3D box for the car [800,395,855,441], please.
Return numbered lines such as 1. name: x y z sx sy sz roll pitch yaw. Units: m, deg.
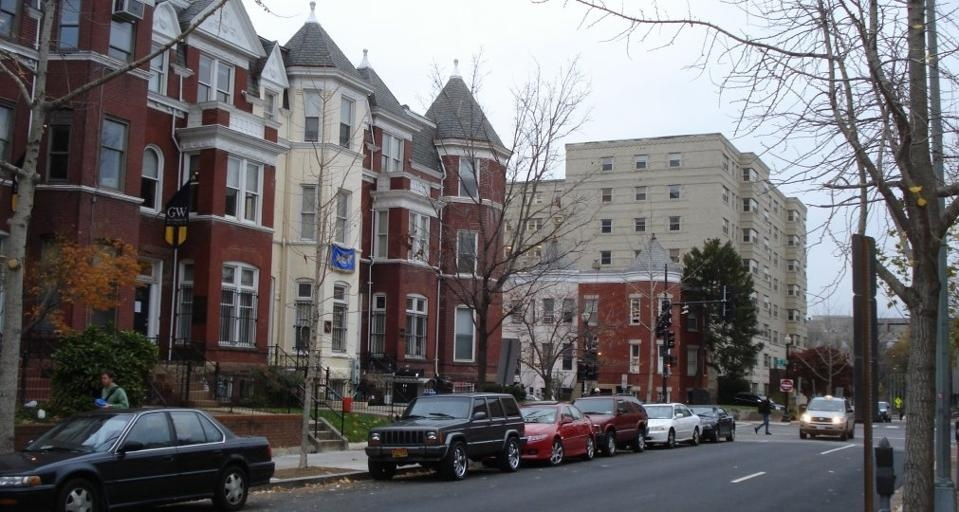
1. car: 18.654 8.534 55.918 2.241 2.382 3.051 -12 -17 39
